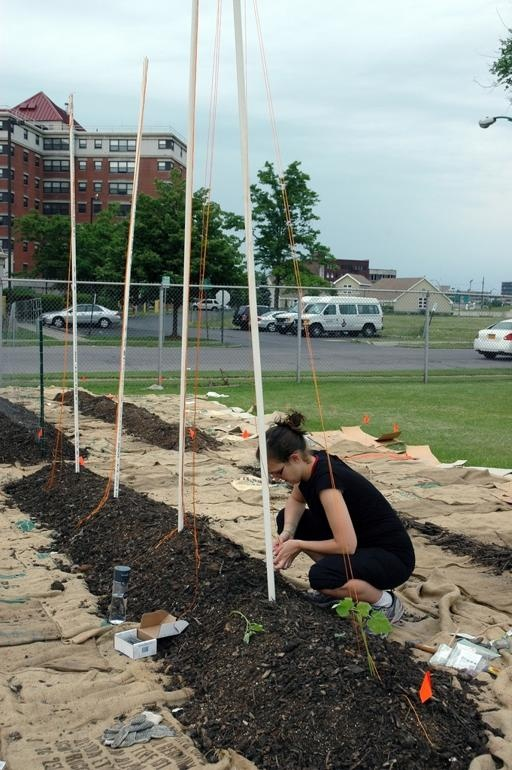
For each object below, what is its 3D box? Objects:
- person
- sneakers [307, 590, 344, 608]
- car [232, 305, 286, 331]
[{"bbox_3d":[0.449,0.695,3.946,0.717,1.140,0.682,1,6,9],"label":"person"},{"bbox_3d":[0.353,1.135,3.993,0.190,0.085,0.070,17,18,42],"label":"sneakers"},{"bbox_3d":[-0.032,-2.497,28.481,2.037,0.736,0.899,-8,10,-29],"label":"car"}]
